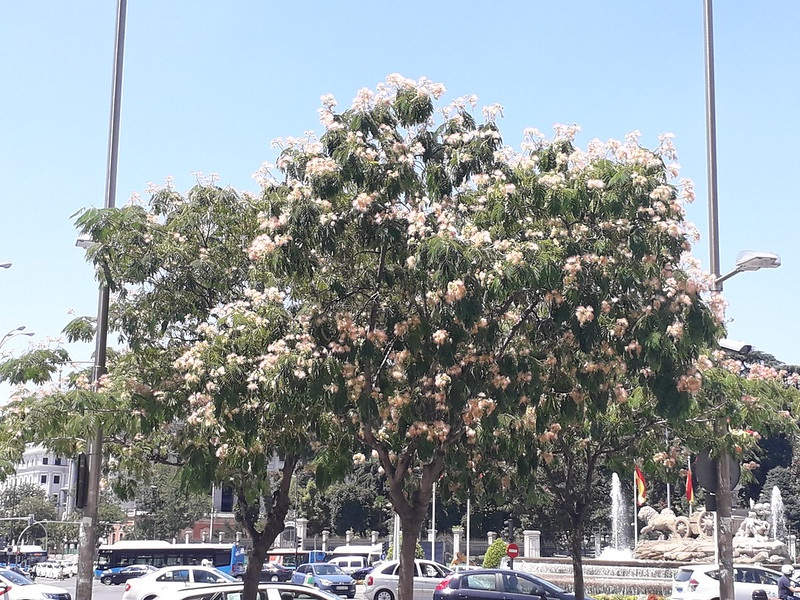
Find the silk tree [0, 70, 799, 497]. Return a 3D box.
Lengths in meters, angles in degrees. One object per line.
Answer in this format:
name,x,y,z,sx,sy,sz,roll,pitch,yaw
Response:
silk tree,-1.054,0.028,28.511,11.883,8.572,12.302,-3,1,-23

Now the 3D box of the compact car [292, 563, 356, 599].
compact car,-3.418,12.847,54.348,2.370,1.619,4.760,5,-16,-14

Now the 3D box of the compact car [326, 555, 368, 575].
compact car,-2.809,14.620,65.607,1.483,1.363,2.598,-7,-24,26
